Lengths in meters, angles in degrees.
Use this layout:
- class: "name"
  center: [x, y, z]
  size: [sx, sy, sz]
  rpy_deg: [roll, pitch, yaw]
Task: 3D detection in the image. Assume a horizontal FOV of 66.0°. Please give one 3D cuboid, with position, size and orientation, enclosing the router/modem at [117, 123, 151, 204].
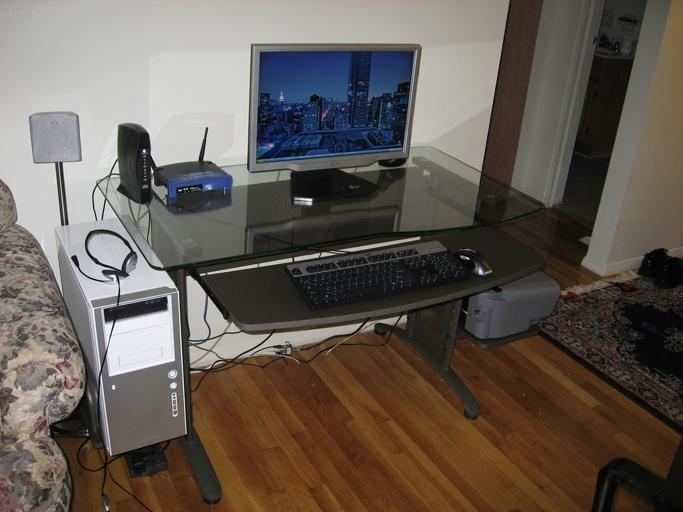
- class: "router/modem"
  center: [-0.759, -0.339, 1.930]
  size: [0.085, 0.292, 0.294]
  rpy_deg: [-16, 51, -32]

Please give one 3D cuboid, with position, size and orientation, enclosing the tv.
- class: "tv"
  center: [-0.049, -0.553, 2.103]
  size: [0.590, 0.494, 0.253]
  rpy_deg: [-9, 34, -21]

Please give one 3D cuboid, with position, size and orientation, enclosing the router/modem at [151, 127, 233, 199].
- class: "router/modem"
  center: [-0.617, -0.426, 2.076]
  size: [0.232, 0.157, 0.340]
  rpy_deg: [-13, 42, -26]

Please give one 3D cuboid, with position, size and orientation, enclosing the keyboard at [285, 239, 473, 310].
- class: "keyboard"
  center: [0.151, 0.068, 1.979]
  size: [0.671, 0.093, 0.280]
  rpy_deg: [-10, 33, -24]
